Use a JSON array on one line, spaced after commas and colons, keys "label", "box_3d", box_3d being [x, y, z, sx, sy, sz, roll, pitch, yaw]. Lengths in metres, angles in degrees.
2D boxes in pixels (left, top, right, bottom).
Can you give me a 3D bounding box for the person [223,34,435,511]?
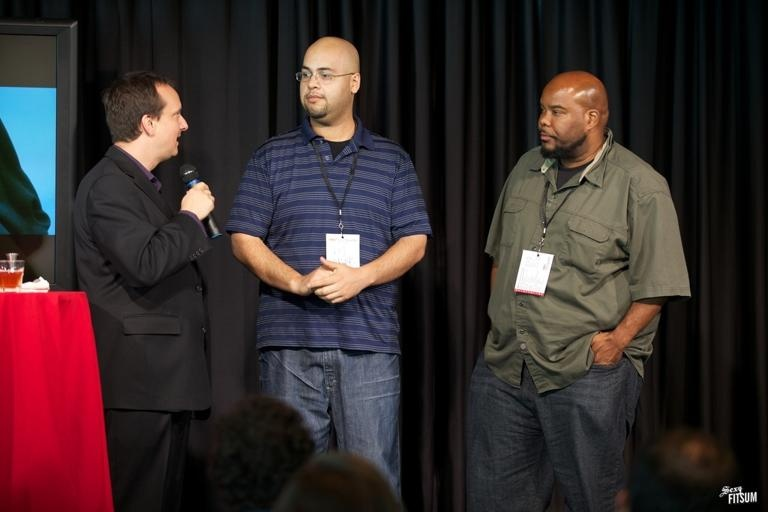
[{"label": "person", "box_3d": [-0.220, 0.299, 3.443, 0.924, 2.616, 0.827, -1, 5, -7]}]
